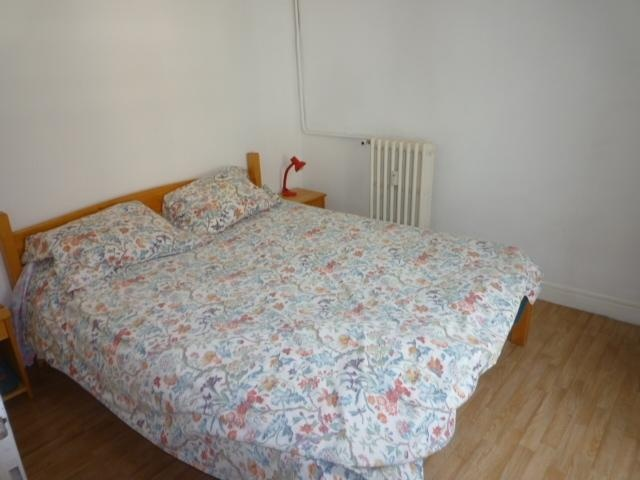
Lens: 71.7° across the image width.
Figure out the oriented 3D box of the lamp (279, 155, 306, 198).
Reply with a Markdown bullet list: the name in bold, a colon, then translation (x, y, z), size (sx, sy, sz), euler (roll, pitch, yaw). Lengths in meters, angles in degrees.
- **lamp**: translation (-0.277, -0.635, 4.342), size (0.296, 0.466, 0.189), euler (18, 39, 25)

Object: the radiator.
- **radiator**: translation (0.716, -0.493, 3.796), size (0.653, 0.848, 0.231), euler (13, 33, 32)
